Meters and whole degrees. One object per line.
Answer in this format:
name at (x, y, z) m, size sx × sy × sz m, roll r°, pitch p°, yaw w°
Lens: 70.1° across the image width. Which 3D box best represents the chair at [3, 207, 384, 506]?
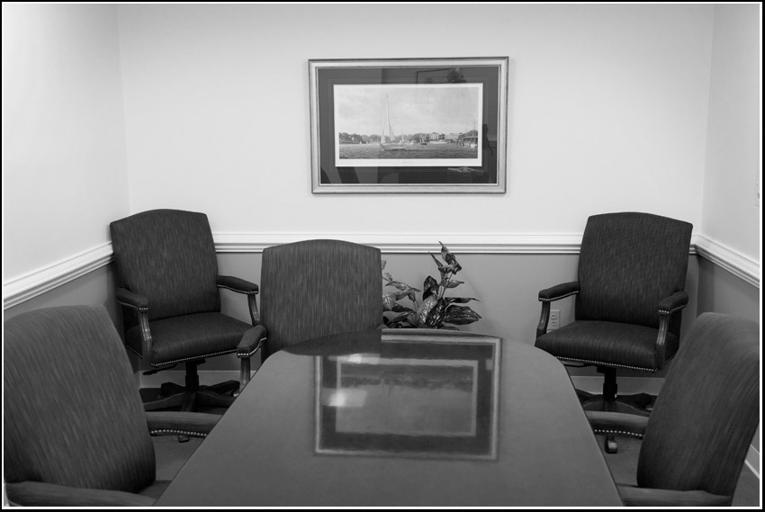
chair at (-0.938, 0.385, 2.531) m, size 0.940 × 1.169 × 1.804 m, roll -3°, pitch 3°, yaw -27°
